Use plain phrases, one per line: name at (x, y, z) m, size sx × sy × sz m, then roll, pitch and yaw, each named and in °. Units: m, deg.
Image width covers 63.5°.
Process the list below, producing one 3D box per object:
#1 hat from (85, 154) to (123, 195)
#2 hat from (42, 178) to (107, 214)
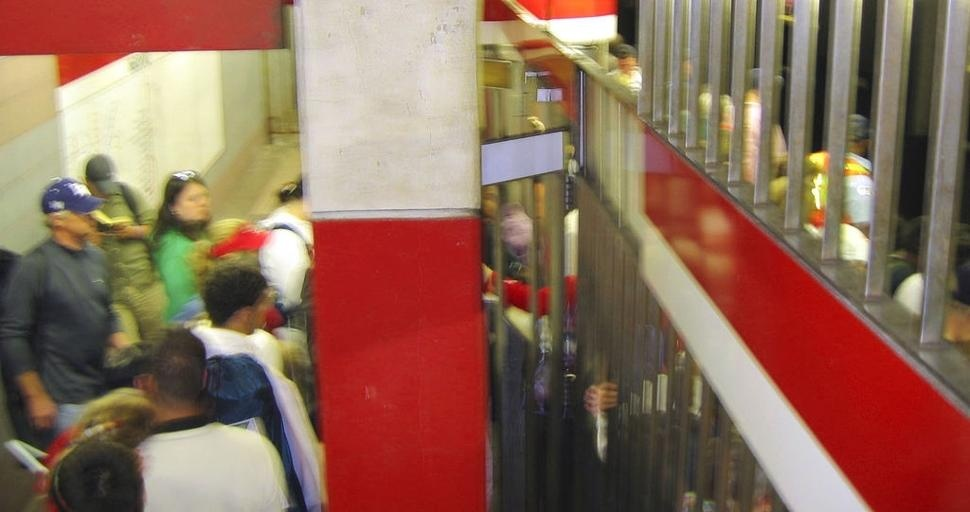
hat at (-2.112, -0.457, 4.406) m, size 0.173 × 0.208 × 0.182 m, roll -13°, pitch 8°, yaw -12°
hat at (-2.295, -0.335, 4.372) m, size 0.262 × 0.124 × 0.182 m, roll -11°, pitch 23°, yaw -12°
